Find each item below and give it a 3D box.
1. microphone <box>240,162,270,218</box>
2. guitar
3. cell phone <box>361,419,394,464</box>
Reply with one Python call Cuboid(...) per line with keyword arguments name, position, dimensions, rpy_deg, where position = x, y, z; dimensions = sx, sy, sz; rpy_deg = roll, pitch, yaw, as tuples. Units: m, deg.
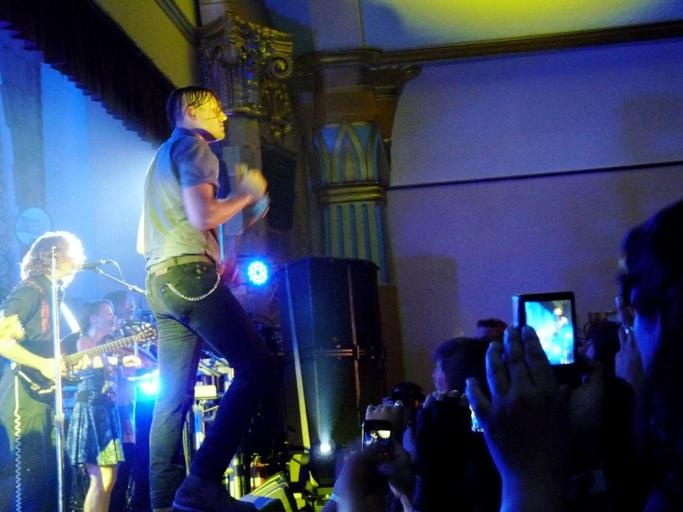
Cuboid(name="microphone", position=(-0.411, -0.319, 3.189), dimensions=(0.084, 0.242, 0.178), rpy_deg=(-3, 17, -21))
Cuboid(name="guitar", position=(-1.682, 0.690, 4.194), dimensions=(0.083, 0.334, 0.813), rpy_deg=(-8, 10, 45))
Cuboid(name="cell phone", position=(0.124, 0.635, 2.192), dimensions=(0.100, 0.180, 0.017), rpy_deg=(-2, 19, 2))
